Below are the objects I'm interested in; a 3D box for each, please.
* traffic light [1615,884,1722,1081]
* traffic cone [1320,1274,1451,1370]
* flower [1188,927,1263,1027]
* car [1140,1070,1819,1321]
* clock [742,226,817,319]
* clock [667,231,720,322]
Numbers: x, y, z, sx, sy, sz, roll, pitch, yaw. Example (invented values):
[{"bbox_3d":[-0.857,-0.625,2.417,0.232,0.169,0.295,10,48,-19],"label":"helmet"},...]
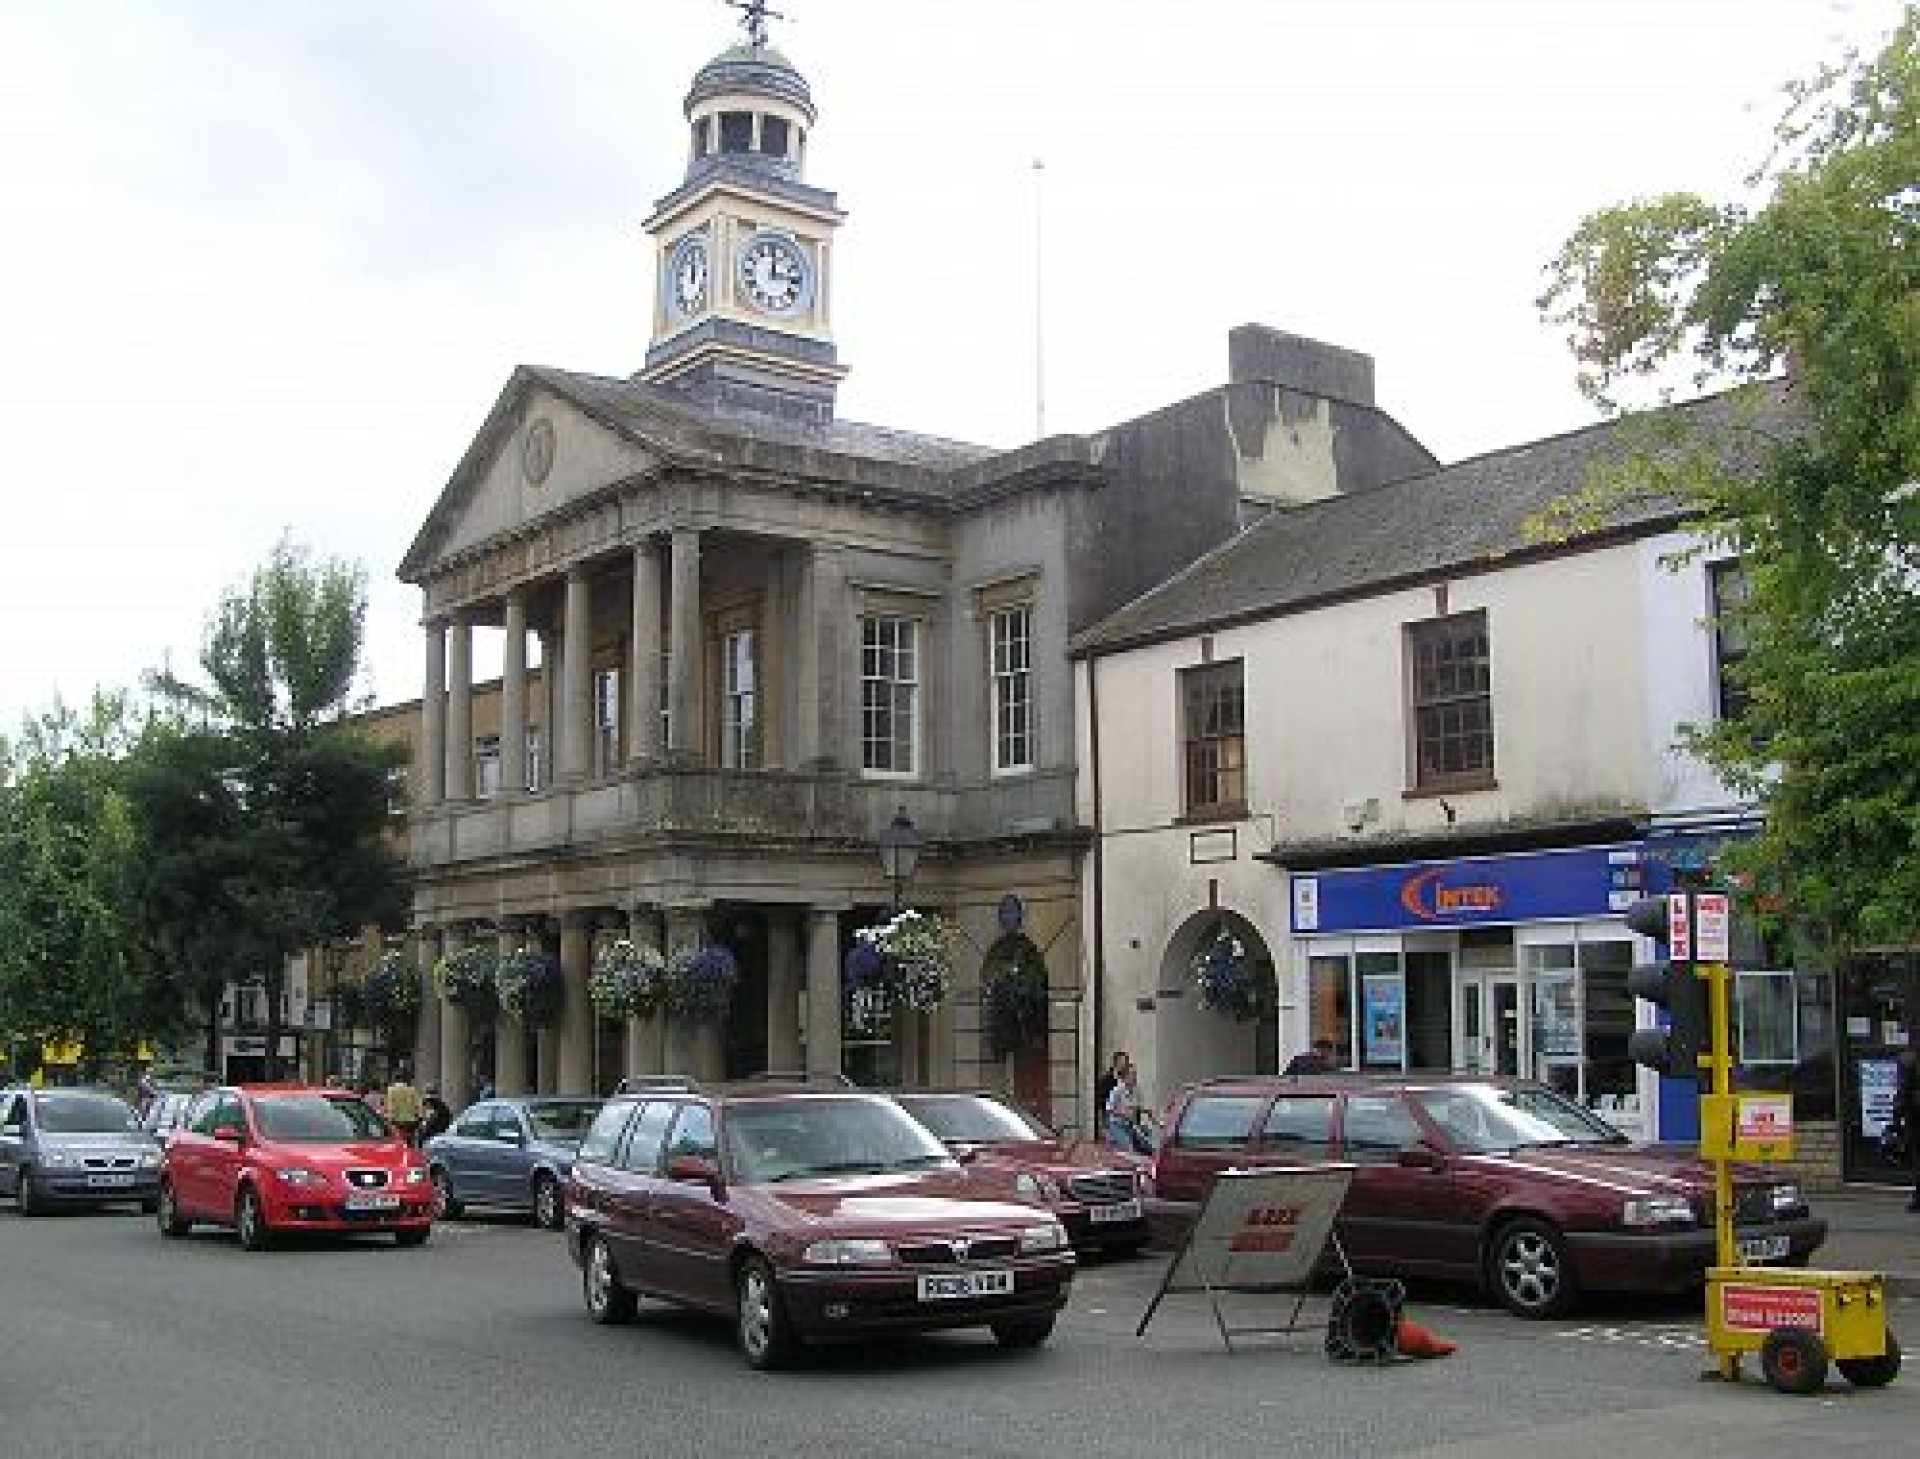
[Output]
[{"bbox_3d":[5.200,1.828,14.630,0.624,1.379,0.578,5,-11,-26],"label":"traffic light"},{"bbox_3d":[3.144,4.406,14.949,0.479,0.494,0.892,9,-13,31],"label":"traffic cone"},{"bbox_3d":[4.009,3.542,29.972,1.084,1.494,2.137,-2,-11,6],"label":"flower"},{"bbox_3d":[4.195,4.082,18.001,5.500,2.046,2.328,-11,-15,41],"label":"car"},{"bbox_3d":[-4.008,-9.915,43.550,1.877,2.089,0.290,7,-12,-35],"label":"clock"},{"bbox_3d":[-5.922,-9.918,43.660,0.305,2.120,2.147,5,-12,-30],"label":"clock"}]
